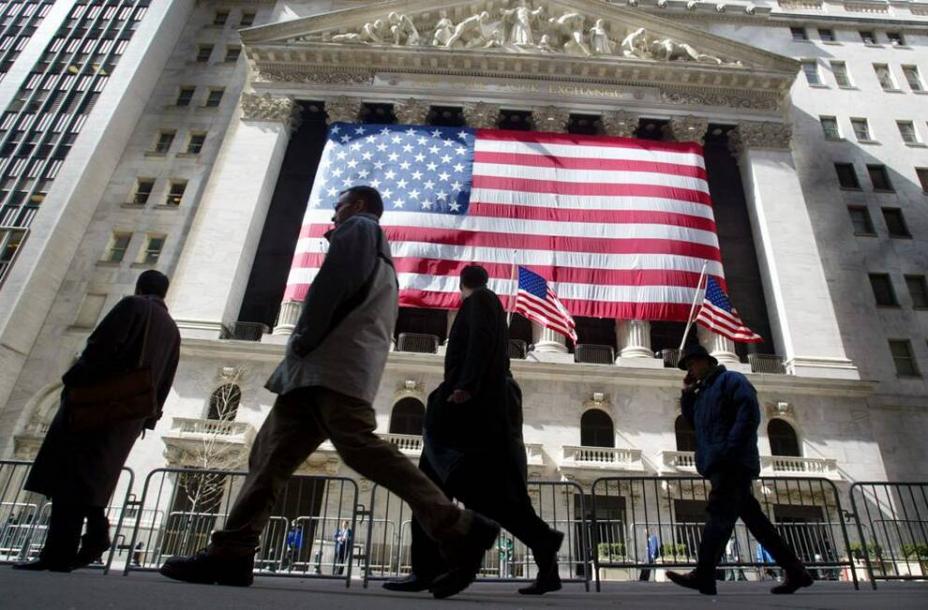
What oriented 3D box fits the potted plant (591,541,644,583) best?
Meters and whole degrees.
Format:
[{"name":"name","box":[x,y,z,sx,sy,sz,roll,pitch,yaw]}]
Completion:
[{"name":"potted plant","box":[4.019,6.956,16.137,1.042,0.851,1.310,0,-25,8]}]

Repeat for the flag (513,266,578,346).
[{"name":"flag","box":[3.602,-0.044,26.414,3.896,3.328,0.514,26,-52,-7]}]
